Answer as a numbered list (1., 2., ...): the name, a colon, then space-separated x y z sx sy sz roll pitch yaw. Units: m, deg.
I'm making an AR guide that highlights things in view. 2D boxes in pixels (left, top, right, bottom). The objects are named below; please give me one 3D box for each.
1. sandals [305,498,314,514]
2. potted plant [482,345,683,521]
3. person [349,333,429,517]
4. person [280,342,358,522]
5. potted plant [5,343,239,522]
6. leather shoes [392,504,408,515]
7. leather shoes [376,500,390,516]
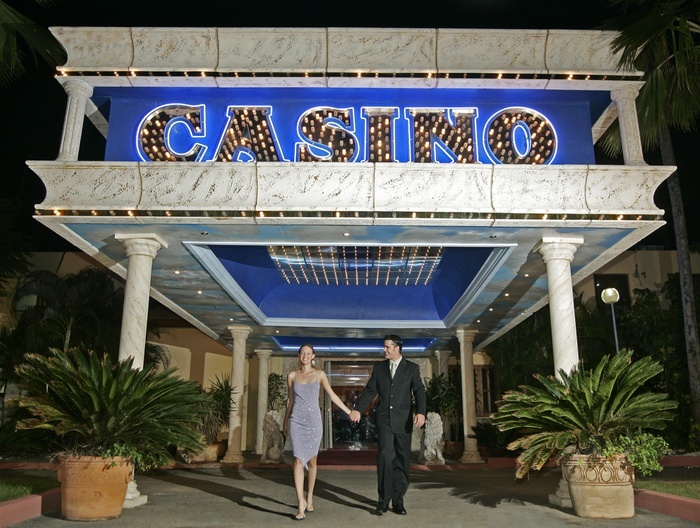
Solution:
1. sandals: -0.581 3.422 8.529 0.118 0.226 0.336 -2 -24 4
2. potted plant: 3.728 2.473 9.198 2.442 1.832 2.572 -8 -14 28
3. person: 0.627 2.235 8.485 0.967 2.393 0.835 -6 -21 24
4. person: -0.563 2.335 8.427 0.799 2.260 0.854 14 -22 -26
5. potted plant: -3.449 2.378 8.484 2.399 2.266 0.782 11 -21 -21
6. leather shoes: 0.695 3.402 8.403 0.205 0.136 0.179 2 -19 5
7. leather shoes: 0.477 3.373 8.380 0.158 0.192 0.399 -6 -21 25
